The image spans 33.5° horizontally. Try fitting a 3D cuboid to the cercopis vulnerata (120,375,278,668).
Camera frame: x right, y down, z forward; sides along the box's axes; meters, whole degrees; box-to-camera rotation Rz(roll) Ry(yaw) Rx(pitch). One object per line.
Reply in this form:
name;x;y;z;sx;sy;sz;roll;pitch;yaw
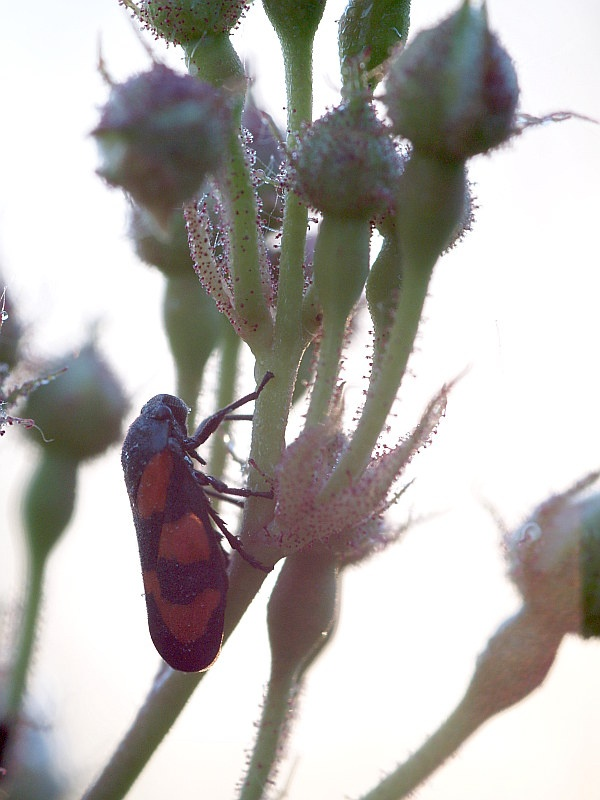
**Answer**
cercopis vulnerata;-0.081;0.159;1.296;0.117;0.336;0.252;15;-33;-27
